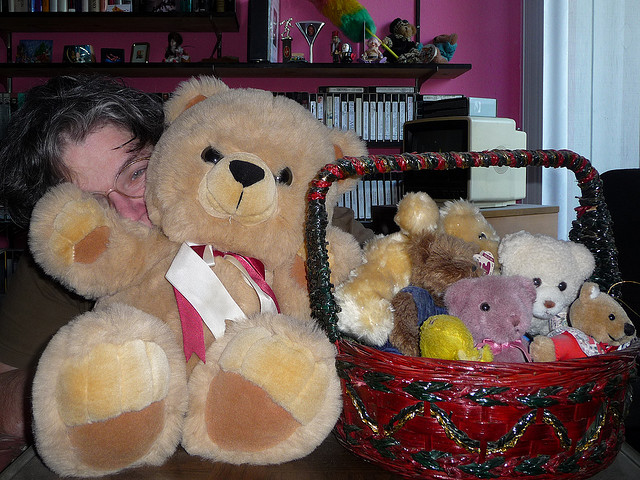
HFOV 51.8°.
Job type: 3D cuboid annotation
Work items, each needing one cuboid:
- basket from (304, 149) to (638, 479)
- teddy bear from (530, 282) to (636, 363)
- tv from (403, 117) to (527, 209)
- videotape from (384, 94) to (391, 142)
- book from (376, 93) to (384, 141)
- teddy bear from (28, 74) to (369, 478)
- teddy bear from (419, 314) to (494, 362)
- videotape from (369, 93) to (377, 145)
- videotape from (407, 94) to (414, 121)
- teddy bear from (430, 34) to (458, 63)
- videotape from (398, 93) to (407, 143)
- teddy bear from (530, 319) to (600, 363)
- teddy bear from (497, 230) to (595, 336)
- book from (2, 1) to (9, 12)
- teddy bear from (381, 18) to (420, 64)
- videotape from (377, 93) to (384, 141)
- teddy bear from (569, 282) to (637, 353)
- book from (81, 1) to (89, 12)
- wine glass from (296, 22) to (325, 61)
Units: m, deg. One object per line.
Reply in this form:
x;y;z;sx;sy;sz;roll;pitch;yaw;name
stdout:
0.202;0.077;1.130;0.491;0.480;0.488;1;-5;-20;basket
0.404;0.142;1.073;0.188;0.145;0.112;1;-13;-21;teddy bear
0.452;-0.310;2.292;0.259;0.214;0.201;1;8;38;tv
0.320;-0.575;3.104;0.031;0.220;0.025;-1;5;3;videotape
0.293;-0.575;3.117;0.040;0.212;0.028;21;38;35;book
-0.190;0.062;1.010;0.469;0.502;0.387;20;5;-8;teddy bear
0.197;0.150;0.971;0.077;0.061;0.041;10;45;4;teddy bear
0.259;-0.586;3.112;0.042;0.222;0.030;7;11;37;videotape
0.429;-0.628;3.102;0.030;0.116;0.015;0;5;7;videotape
0.571;-0.872;3.022;0.107;0.142;0.222;0;6;15;teddy bear
0.391;-0.577;3.107;0.038;0.230;0.031;-6;7;-41;videotape
0.371;0.158;1.058;0.112;0.043;0.106;-3;6;-18;teddy bear
0.373;0.091;1.116;0.162;0.194;0.134;1;21;1;teddy bear
-1.430;-1.062;2.993;0.024;0.051;0.043;-5;7;-35;book
0.365;-0.904;2.999;0.169;0.232;0.199;-1;5;6;teddy bear
0.287;-0.581;3.099;0.030;0.216;0.026;-1;5;0;videotape
0.452;0.126;1.102;0.112;0.094;0.073;27;-17;9;teddy bear
-1.061;-1.057;2.978;0.028;0.052;0.039;-4;6;-31;book
-0.043;-0.930;3.128;0.116;0.170;0.229;-1;6;0;wine glass
